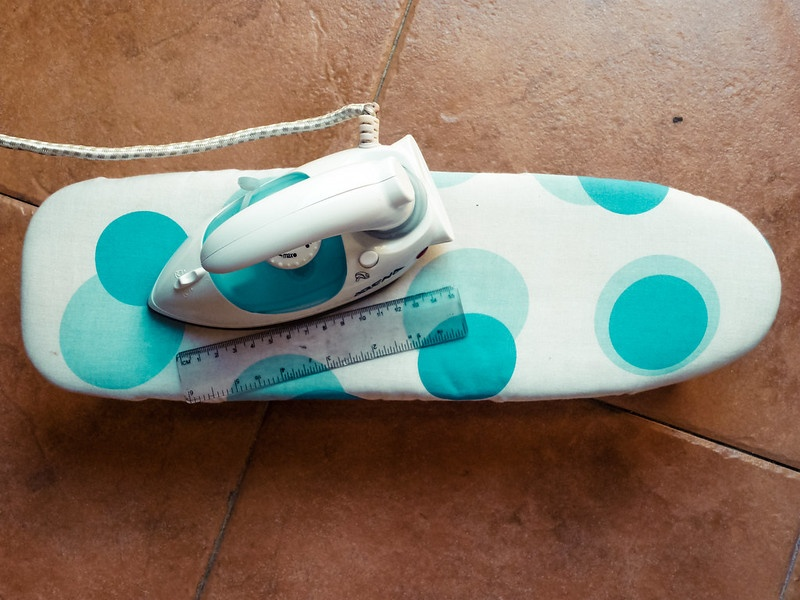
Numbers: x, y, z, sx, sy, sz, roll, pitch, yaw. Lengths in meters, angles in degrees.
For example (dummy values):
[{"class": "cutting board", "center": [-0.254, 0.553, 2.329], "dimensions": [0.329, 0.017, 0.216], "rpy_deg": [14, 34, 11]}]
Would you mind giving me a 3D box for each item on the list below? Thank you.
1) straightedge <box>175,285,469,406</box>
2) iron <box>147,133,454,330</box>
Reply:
[{"class": "straightedge", "center": [-0.183, 0.096, 2.012], "dimensions": [0.669, 0.161, 0.014], "rpy_deg": [-14, 37, 7]}, {"class": "iron", "center": [-0.217, -0.094, 1.958], "dimensions": [0.604, 0.346, 0.281], "rpy_deg": [-20, -4, 8]}]
